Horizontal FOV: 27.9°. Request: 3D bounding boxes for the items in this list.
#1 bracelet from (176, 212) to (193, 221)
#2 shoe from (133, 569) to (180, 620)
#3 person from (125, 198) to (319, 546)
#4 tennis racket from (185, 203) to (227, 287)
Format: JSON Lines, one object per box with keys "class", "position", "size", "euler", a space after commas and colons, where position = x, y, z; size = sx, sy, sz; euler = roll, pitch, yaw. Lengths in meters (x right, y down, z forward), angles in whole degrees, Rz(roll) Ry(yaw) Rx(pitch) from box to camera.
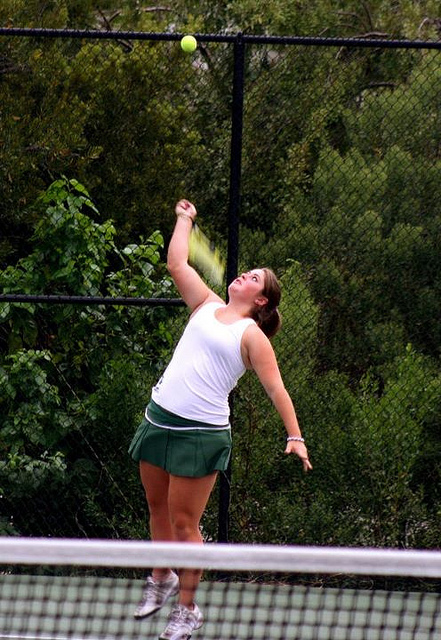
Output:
{"class": "bracelet", "position": [-0.147, -0.439, 3.766], "size": [0.066, 0.034, 0.036], "euler": [3, 14, -7]}
{"class": "shoe", "position": [-0.267, 1.139, 3.689], "size": [0.077, 0.098, 0.235], "euler": [-5, 33, 49]}
{"class": "person", "position": [0.016, 0.282, 3.562], "size": [0.805, 1.359, 0.565], "euler": [11, 15, 24]}
{"class": "tennis racket", "position": [-0.071, -0.326, 4.018], "size": [0.155, 0.340, 0.165], "euler": [0, 3, -38]}
